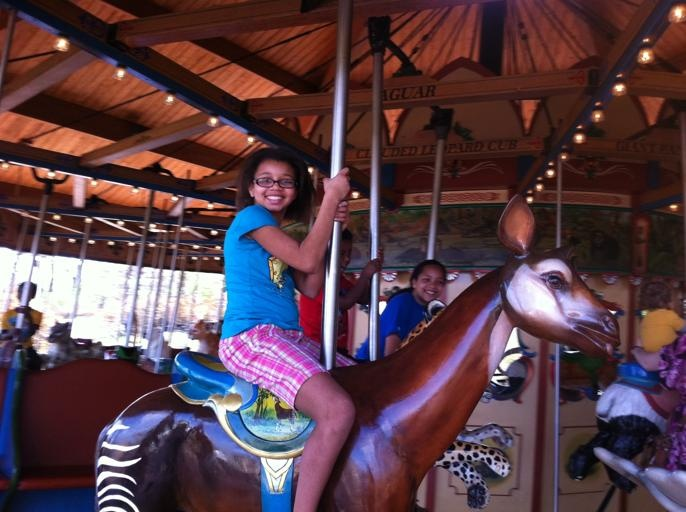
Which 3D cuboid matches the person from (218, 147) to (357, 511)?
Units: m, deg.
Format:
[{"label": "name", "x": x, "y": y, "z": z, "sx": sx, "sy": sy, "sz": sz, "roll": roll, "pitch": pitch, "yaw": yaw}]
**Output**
[{"label": "person", "x": -0.273, "y": 0.310, "z": 3.062, "sx": 0.759, "sy": 1.883, "sz": 0.509, "roll": 2, "pitch": -11, "yaw": 6}]
